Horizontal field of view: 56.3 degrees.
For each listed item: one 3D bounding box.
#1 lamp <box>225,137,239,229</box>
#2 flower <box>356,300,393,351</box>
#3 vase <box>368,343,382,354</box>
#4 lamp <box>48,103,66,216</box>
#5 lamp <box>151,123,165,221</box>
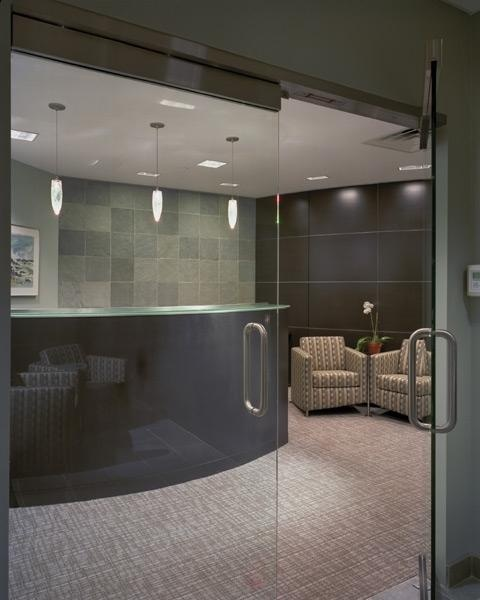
[{"bbox_3d":[-0.028,-0.444,1.711,0.045,0.339,0.080,1,-2,3],"label":"lamp"},{"bbox_3d":[1.784,0.341,5.998,0.350,0.750,0.399,-3,9,14],"label":"flower"},{"bbox_3d":[1.792,0.621,5.912,0.124,0.132,0.133,-5,-6,37],"label":"vase"},{"bbox_3d":[-0.556,-0.426,1.358,0.048,0.335,0.032,2,-2,-30],"label":"lamp"},{"bbox_3d":[-0.284,-0.436,1.536,0.043,0.330,0.063,1,-2,-5],"label":"lamp"}]
